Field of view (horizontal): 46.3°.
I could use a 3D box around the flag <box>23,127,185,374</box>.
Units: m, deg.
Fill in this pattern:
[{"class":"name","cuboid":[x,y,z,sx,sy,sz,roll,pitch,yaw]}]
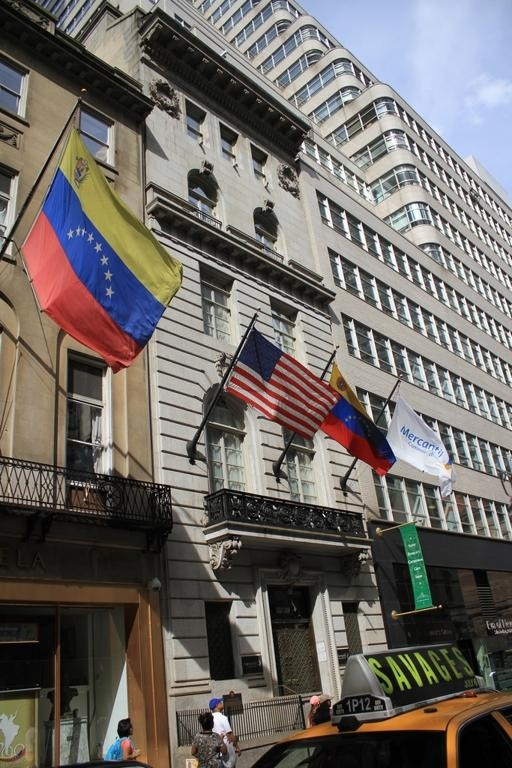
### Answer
[{"class":"flag","cuboid":[-3.081,-2.773,12.287,2.518,4.931,1.028,9,-9,-21]}]
